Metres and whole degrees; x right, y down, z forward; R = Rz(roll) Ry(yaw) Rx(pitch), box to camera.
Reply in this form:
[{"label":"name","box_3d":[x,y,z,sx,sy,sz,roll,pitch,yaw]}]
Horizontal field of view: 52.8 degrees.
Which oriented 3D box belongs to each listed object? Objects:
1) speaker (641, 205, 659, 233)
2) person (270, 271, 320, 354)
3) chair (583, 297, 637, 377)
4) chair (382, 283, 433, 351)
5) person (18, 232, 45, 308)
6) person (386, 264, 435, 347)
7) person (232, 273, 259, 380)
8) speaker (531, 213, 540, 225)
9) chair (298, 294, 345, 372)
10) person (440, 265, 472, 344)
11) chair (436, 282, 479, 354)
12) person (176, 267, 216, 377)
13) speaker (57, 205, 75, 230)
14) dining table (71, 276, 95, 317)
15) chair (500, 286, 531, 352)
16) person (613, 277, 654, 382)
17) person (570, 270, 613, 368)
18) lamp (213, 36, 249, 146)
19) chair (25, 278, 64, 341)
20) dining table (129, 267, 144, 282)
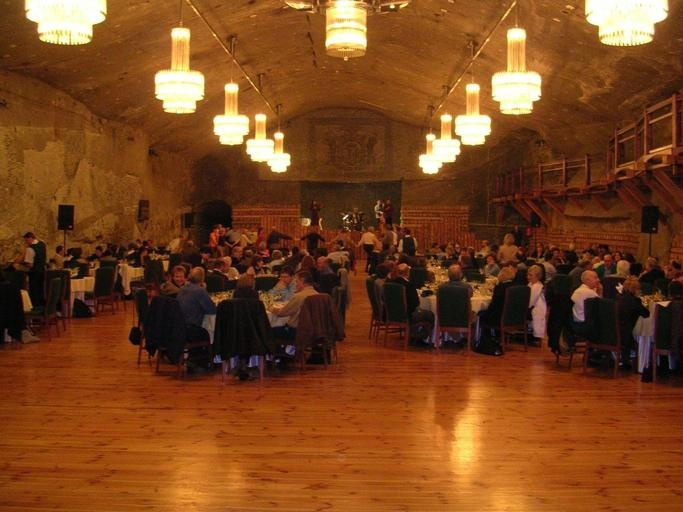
[{"label":"speaker","box_3d":[7.012,-0.823,15.679,0.353,0.630,0.369,2,10,14]},{"label":"person","box_3d":[-0.750,0.840,10.536,0.593,1.241,0.632,-3,9,-45]},{"label":"chair","box_3d":[4.079,1.196,10.559,0.623,1.160,0.625,0,1,-45]},{"label":"chair","box_3d":[1.199,1.057,12.146,0.801,1.177,0.822,1,4,31]},{"label":"person","box_3d":[-6.205,0.290,13.914,0.476,1.539,0.594,4,9,9]},{"label":"person","box_3d":[1.226,0.886,12.215,0.652,1.498,0.875,7,10,41]},{"label":"person","box_3d":[-1.644,1.028,10.163,0.715,1.350,0.703,1,2,9]},{"label":"speaker","box_3d":[7.470,-1.417,26.434,0.122,0.474,0.507,7,4,26]},{"label":"chair","box_3d":[-0.517,1.137,10.598,0.874,1.159,0.876,-2,7,29]},{"label":"person","box_3d":[2.022,0.821,11.986,0.629,1.274,0.662,0,1,-14]},{"label":"chair","box_3d":[1.974,1.010,11.810,0.743,1.132,0.763,0,9,-2]},{"label":"person","box_3d":[-2.171,0.898,10.544,0.579,1.416,0.793,15,21,31]},{"label":"speaker","box_3d":[-6.681,-0.931,16.696,0.375,0.677,0.647,-4,10,-23]},{"label":"dining table","box_3d":[-5.675,0.866,15.085,0.715,0.704,0.720,0,-4,-10]},{"label":"chair","box_3d":[2.924,1.000,12.009,0.652,1.218,0.638,0,1,-32]},{"label":"person","box_3d":[4.313,1.048,10.404,0.529,1.321,0.689,0,0,10]},{"label":"person","box_3d":[3.890,0.698,10.918,0.510,0.906,0.415,0,0,-42]},{"label":"lamp","box_3d":[-2.292,-2.984,14.382,0.674,1.231,0.951,-1,10,-8]},{"label":"chair","box_3d":[-5.555,0.981,13.071,0.727,1.402,0.773,-1,10,-24]},{"label":"dining table","box_3d":[-5.269,0.450,17.688,0.185,0.379,0.653,2,9,10]}]
